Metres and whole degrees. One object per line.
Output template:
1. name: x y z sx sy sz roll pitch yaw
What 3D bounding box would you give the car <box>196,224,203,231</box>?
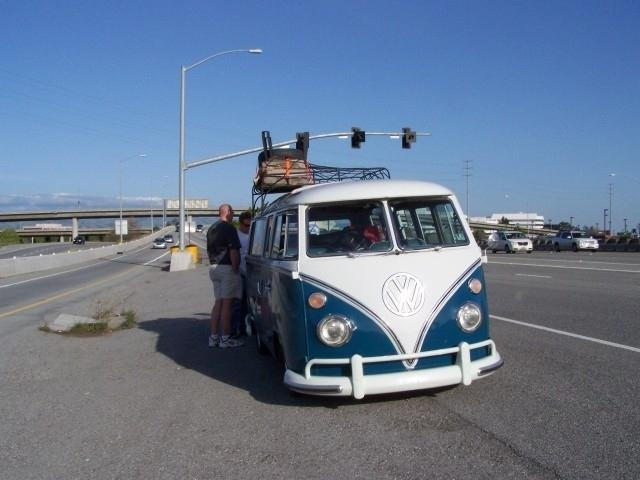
1. car: -37.431 -3.836 145.100 1.878 1.862 4.178 -2 0 -21

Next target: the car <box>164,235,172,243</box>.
1. car: -26.278 -0.243 81.206 1.395 1.244 3.540 -1 -1 -13

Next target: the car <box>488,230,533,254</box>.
1. car: 18.228 0.183 44.577 2.297 1.945 5.104 -1 -4 -9

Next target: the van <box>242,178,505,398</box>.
1. van: 0.186 0.587 6.270 1.738 1.595 3.318 -3 -4 -18

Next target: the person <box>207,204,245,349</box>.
1. person: -1.668 0.621 8.109 0.626 2.466 0.810 -3 2 -15

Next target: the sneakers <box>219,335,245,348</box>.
1. sneakers: -1.553 1.731 8.141 0.463 0.243 0.174 -2 8 -21

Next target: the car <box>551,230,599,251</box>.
1. car: 22.559 0.126 41.136 2.574 1.725 3.954 -2 3 2

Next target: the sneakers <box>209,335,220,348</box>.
1. sneakers: -1.855 1.764 8.128 0.108 0.141 0.284 2 7 11
